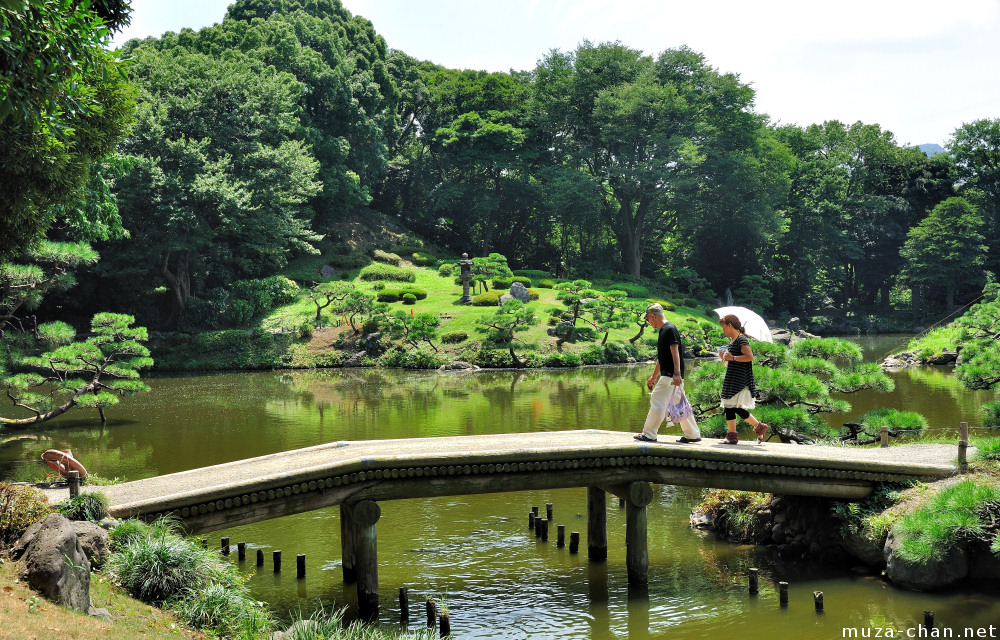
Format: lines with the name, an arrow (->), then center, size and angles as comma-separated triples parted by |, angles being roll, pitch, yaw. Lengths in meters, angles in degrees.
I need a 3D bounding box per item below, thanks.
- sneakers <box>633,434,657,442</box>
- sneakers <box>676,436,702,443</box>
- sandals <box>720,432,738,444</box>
sneakers -> 3.797, 3.120, 29.056 | 0.567, 0.214, 0.199 | 10, -2, 5
sneakers -> 4.942, 3.164, 29.164 | 0.569, 0.214, 0.211 | -1, -1, 18
sandals -> 6.179, 3.187, 29.535 | 0.219, 0.242, 0.648 | -3, -11, 25
